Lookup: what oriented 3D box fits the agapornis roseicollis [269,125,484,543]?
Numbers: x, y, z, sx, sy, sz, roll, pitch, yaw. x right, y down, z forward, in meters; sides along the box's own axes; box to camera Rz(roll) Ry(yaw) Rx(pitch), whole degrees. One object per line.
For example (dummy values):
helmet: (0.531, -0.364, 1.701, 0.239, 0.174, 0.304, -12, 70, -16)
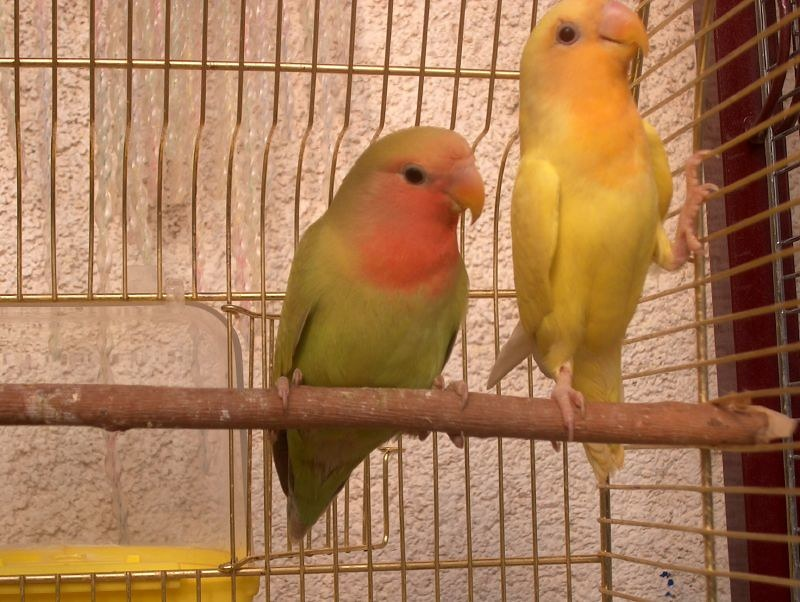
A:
agapornis roseicollis: (-0.035, 0.017, 1.887, 0.210, 0.448, 0.468, 11, 67, -34)
